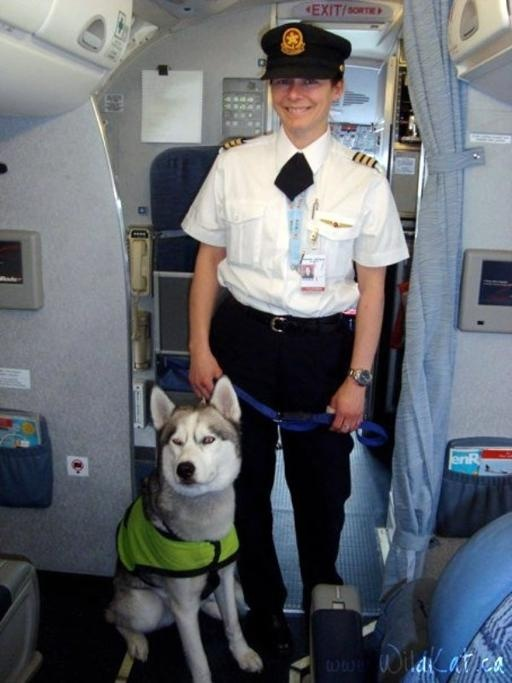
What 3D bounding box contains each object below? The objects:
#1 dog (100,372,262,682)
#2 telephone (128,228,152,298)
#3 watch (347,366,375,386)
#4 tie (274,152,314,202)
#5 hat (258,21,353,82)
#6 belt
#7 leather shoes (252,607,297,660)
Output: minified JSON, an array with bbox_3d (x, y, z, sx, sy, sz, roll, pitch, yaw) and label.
[{"bbox_3d":[-0.246,0.583,1.808,0.343,1.043,0.459,-14,21,-42],"label":"dog"},{"bbox_3d":[-0.447,-0.314,2.190,0.097,0.267,0.059,-3,16,-11],"label":"telephone"},{"bbox_3d":[0.313,0.104,1.699,0.068,0.043,0.066,44,-9,-38],"label":"watch"},{"bbox_3d":[0.110,-0.489,1.670,0.111,0.139,0.042,1,15,2],"label":"tie"},{"bbox_3d":[0.141,-0.818,1.598,0.248,0.149,0.140,1,16,2],"label":"hat"},{"bbox_3d":[0.085,-0.085,1.810,0.439,0.098,0.192,2,16,5],"label":"belt"},{"bbox_3d":[0.043,1.016,1.959,0.114,0.159,0.156,-8,62,-9],"label":"leather shoes"}]
